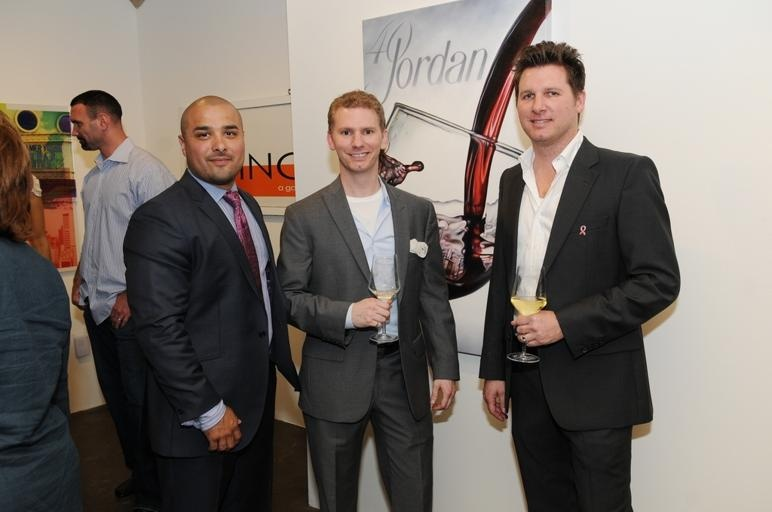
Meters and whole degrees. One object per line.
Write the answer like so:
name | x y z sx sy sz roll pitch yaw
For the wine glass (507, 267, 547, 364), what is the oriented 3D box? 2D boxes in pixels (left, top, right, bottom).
wine glass | 0.699 0.334 2.698 0.171 0.536 0.298 4 13 17

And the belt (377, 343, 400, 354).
belt | 0.012 0.490 2.896 0.117 0.059 0.020 -4 13 -19

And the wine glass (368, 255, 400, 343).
wine glass | -0.009 0.234 2.797 0.146 0.496 0.297 0 12 0
